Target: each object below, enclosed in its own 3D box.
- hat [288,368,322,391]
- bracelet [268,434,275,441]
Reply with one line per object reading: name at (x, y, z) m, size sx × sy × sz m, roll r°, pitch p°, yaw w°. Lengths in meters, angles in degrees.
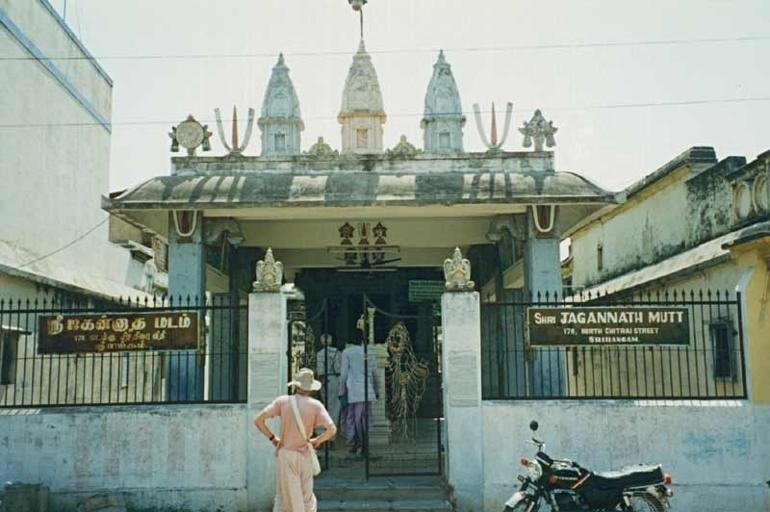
hat at (-1.503, 2.406, 20.554) m, size 0.515 × 0.328 × 0.567 m, roll 4°, pitch -10°, yaw 24°
bracelet at (-2.188, 3.478, 20.312) m, size 0.132 × 0.052 × 0.134 m, roll -20°, pitch -19°, yaw 9°
